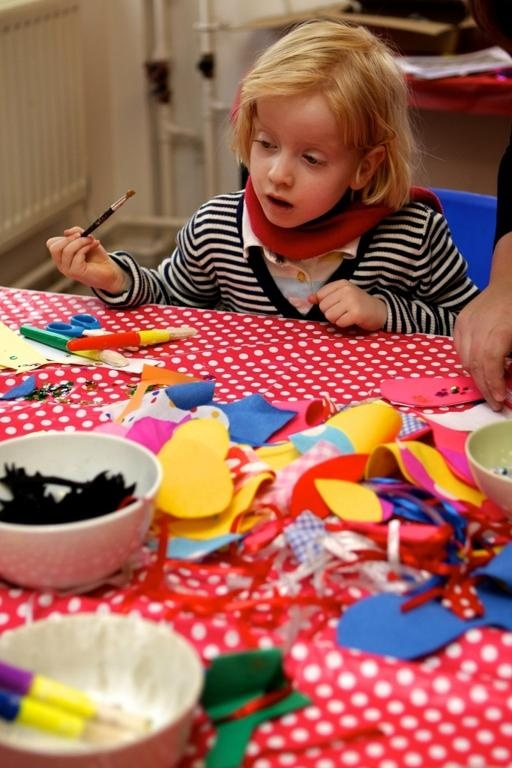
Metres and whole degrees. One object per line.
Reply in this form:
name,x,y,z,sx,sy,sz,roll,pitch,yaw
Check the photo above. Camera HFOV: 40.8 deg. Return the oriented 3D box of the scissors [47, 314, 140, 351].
scissors,-0.194,-0.060,0.789,0.058,0.014,0.073,-12,25,-33
